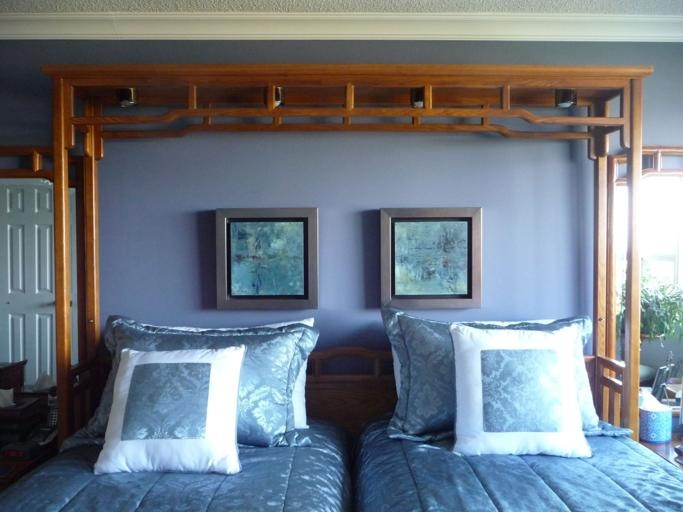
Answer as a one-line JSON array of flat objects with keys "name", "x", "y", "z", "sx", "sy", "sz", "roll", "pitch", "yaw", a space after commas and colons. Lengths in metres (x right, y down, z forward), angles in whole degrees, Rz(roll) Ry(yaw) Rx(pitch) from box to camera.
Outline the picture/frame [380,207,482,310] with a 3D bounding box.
[{"name": "picture/frame", "x": 0.541, "y": 0.006, "z": 3.653, "sx": 0.791, "sy": 0.627, "sz": 0.051, "roll": 0, "pitch": 0, "yaw": -4}]

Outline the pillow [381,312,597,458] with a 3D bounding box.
[{"name": "pillow", "x": 0.766, "y": 0.692, "z": 3.128, "sx": 0.882, "sy": 0.513, "sz": 0.273, "roll": 0, "pitch": -5, "yaw": 2}]

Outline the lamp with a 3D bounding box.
[{"name": "lamp", "x": 0.364, "y": -0.906, "z": 3.551, "sx": 2.098, "sy": 0.170, "sz": 0.101, "roll": 0, "pitch": 8, "yaw": -1}]

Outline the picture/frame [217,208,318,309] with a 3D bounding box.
[{"name": "picture/frame", "x": -0.451, "y": 0.023, "z": 3.676, "sx": 0.764, "sy": 0.636, "sz": 0.053, "roll": -1, "pitch": 0, "yaw": -43}]
